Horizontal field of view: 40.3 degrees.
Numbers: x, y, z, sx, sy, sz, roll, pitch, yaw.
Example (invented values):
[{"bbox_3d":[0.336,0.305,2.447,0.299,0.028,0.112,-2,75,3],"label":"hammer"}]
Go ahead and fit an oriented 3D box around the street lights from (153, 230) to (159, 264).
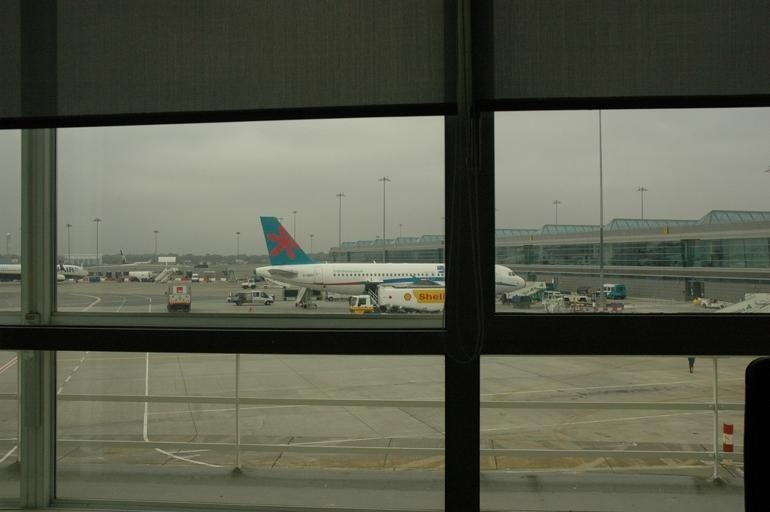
[{"bbox_3d":[-1.215,-0.064,5.587,0.028,0.155,0.065,-1,2,-14],"label":"street lights"}]
